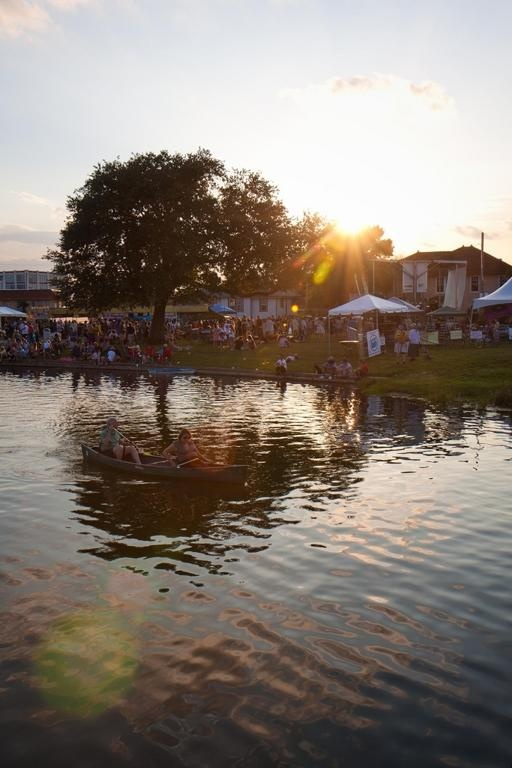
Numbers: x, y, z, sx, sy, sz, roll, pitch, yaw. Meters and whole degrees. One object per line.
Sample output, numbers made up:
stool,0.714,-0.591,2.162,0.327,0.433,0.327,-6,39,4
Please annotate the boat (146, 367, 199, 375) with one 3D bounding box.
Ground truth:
boat,-5.276,-0.820,43.594,3.022,0.472,1.233,1,2,14

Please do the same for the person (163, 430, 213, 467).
person,-1.760,1.509,16.977,0.721,1.134,1.217,-6,4,-43
